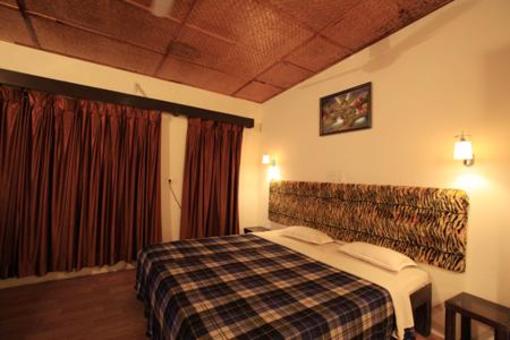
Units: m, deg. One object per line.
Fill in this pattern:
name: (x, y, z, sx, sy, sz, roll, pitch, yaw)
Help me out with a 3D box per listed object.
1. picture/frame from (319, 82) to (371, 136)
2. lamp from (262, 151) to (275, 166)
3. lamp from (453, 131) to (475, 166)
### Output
picture/frame: (1.474, -0.965, 5.295, 0.038, 0.710, 0.966, 2, -1, -42)
lamp: (0.197, -0.184, 6.680, 0.310, 0.370, 0.196, -1, 1, -42)
lamp: (2.657, -0.266, 4.202, 0.239, 0.437, 0.216, 3, -2, 33)
